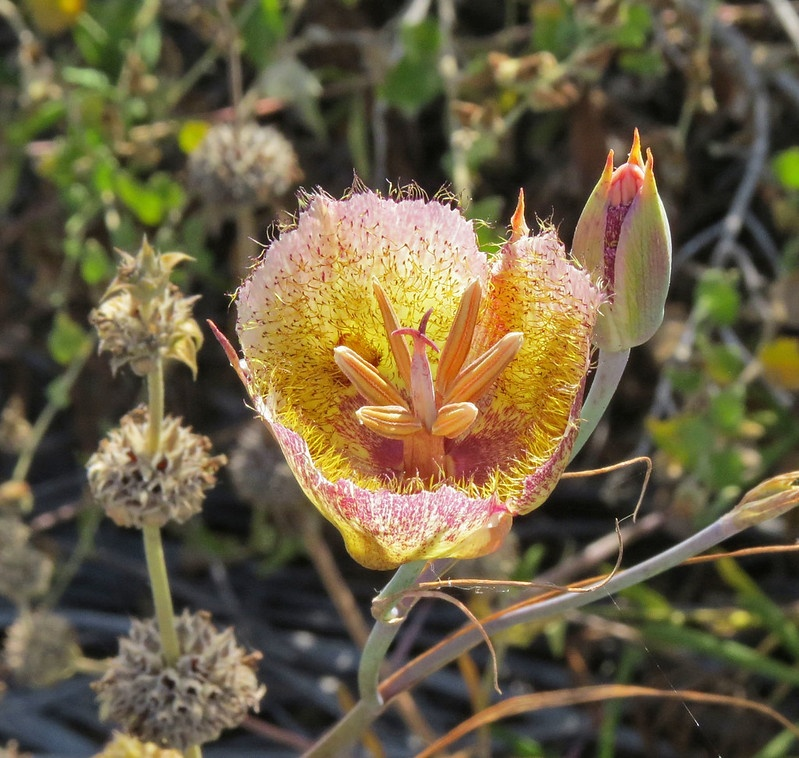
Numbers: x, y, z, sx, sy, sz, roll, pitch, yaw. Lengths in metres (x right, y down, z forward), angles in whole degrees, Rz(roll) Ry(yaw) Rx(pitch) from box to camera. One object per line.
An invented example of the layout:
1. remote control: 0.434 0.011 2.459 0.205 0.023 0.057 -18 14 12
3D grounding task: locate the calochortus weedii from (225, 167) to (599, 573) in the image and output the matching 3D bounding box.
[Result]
1. calochortus weedii: 0.112 0.046 2.346 0.862 0.586 0.639 2 56 -11
